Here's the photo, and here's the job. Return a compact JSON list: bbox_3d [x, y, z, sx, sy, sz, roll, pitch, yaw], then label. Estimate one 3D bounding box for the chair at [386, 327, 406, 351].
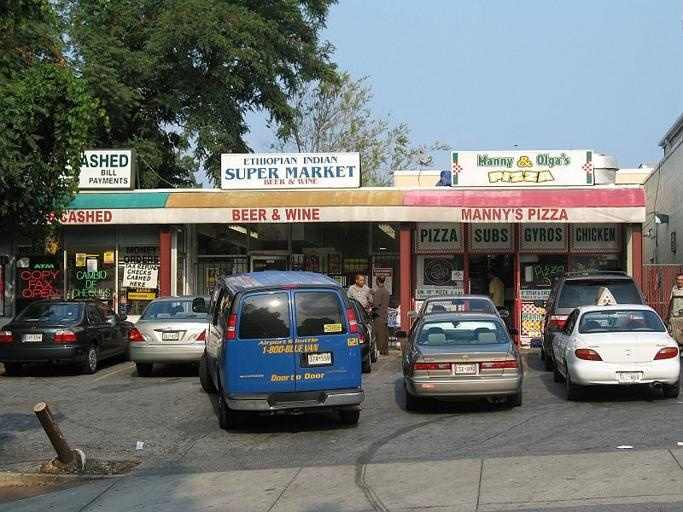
[{"bbox_3d":[1.678,2.501,22.424,0.718,0.626,1.202,1,0,5],"label":"chair"}]
